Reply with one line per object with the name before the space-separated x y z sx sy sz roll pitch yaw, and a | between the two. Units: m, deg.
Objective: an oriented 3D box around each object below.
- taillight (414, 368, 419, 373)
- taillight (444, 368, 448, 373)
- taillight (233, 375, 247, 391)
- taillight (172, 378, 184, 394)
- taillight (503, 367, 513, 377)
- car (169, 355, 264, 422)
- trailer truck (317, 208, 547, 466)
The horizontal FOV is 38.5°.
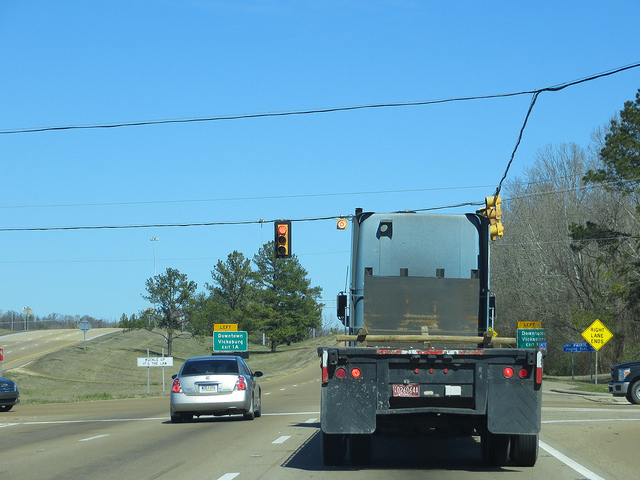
taillight | 2.025 2.717 19.014 0.057 0.081 0.064 -2 -1 -8
taillight | 2.626 2.711 18.994 0.055 0.063 0.059 1 -5 -24
taillight | -2.310 4.246 26.871 0.247 0.502 0.125 -5 13 -19
taillight | -4.140 4.247 26.679 0.447 0.422 0.120 -8 -10 39
taillight | 3.921 2.746 18.979 0.174 0.192 0.041 1 -7 -17
car | -3.125 4.464 27.391 2.660 1.982 1.765 1 -8 -21
trailer truck | 2.320 1.991 20.598 4.404 6.105 3.275 -2 -7 3
